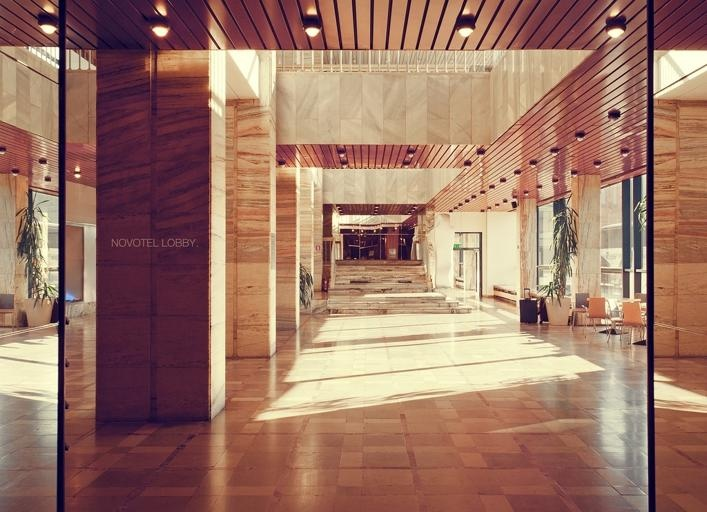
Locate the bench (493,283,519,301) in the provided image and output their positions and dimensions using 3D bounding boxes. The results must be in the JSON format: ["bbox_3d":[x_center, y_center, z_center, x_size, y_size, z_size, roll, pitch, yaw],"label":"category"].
[{"bbox_3d":[6.266,1.539,23.129,0.879,0.597,3.941,-1,-2,14],"label":"bench"}]

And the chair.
[{"bbox_3d":[6.062,1.544,13.407,1.264,1.765,1.228,0,-1,27],"label":"chair"}]
